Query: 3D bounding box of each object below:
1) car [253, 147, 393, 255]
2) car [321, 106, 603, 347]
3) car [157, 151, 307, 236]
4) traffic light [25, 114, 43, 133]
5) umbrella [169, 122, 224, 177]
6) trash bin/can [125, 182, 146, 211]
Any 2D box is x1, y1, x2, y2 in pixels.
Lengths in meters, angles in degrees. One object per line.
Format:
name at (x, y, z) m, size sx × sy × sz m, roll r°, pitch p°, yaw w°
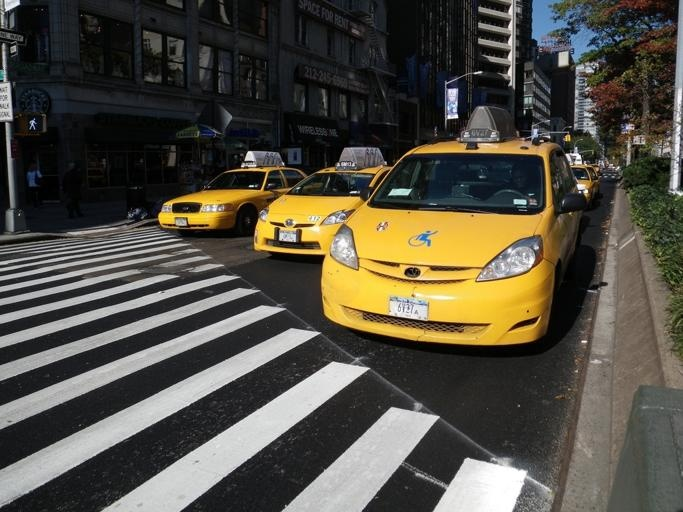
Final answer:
car at (-0.192, -1.376, 11.353) m, size 1.783 × 1.958 × 3.801 m, roll 2°, pitch 9°, yaw 23°
car at (1.621, -0.457, 6.109) m, size 1.981 × 1.788 × 3.384 m, roll 4°, pitch 12°, yaw 27°
car at (-2.760, -1.932, 15.286) m, size 2.017 × 2.306 × 5.112 m, roll 4°, pitch 10°, yaw 30°
traffic light at (-8.975, -3.909, 14.658) m, size 0.333 × 0.491 × 0.463 m, roll 13°, pitch 32°, yaw 33°
umbrella at (-6.255, -4.659, 21.888) m, size 1.953 × 2.319 × 1.903 m, roll 0°, pitch 2°, yaw -3°
trash bin/can at (-7.407, -2.099, 18.093) m, size 0.631 × 0.878 × 0.747 m, roll -5°, pitch 11°, yaw -25°
